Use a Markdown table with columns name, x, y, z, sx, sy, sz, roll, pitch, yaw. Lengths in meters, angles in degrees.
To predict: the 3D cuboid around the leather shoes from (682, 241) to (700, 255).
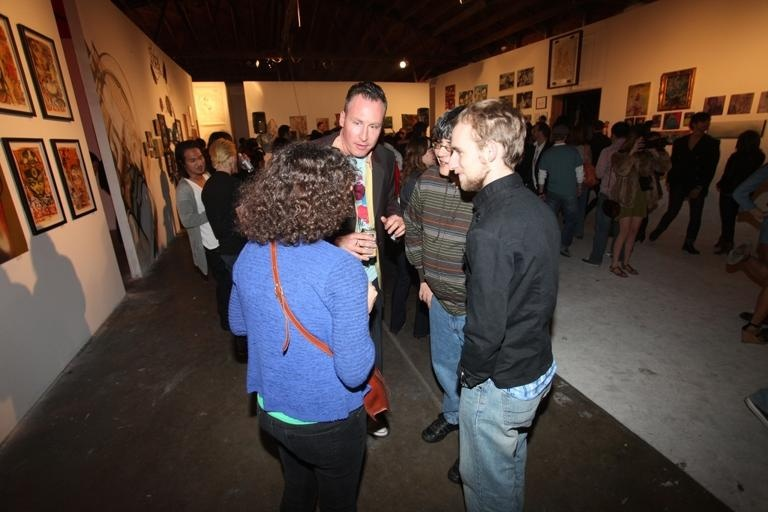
| name | x | y | z | sx | sy | sz | roll | pitch | yaw |
| --- | --- | --- | --- | --- | --- | --- | --- | --- | --- |
| leather shoes | 5.026 | -0.135 | 7.864 | 0.125 | 0.218 | 0.304 | -6 | 19 | -13 |

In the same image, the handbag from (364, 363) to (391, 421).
| name | x | y | z | sx | sy | sz | roll | pitch | yaw |
| --- | --- | --- | --- | --- | --- | --- | --- | --- | --- |
| handbag | -0.049 | 1.129 | 3.777 | 0.174 | 0.473 | 0.238 | 8 | 21 | 17 |

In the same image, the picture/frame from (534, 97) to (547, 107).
| name | x | y | z | sx | sy | sz | roll | pitch | yaw |
| --- | --- | --- | --- | --- | --- | --- | --- | --- | --- |
| picture/frame | 3.757 | -3.708 | 11.577 | 0.023 | 0.268 | 0.315 | 3 | 2 | -17 |

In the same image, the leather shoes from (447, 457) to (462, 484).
| name | x | y | z | sx | sy | sz | roll | pitch | yaw |
| --- | --- | --- | --- | --- | --- | --- | --- | --- | --- |
| leather shoes | 0.650 | 2.012 | 4.529 | 0.126 | 0.128 | 0.296 | 6 | -6 | 16 |

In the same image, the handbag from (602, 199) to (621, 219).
| name | x | y | z | sx | sy | sz | roll | pitch | yaw |
| --- | --- | --- | --- | --- | --- | --- | --- | --- | --- |
| handbag | 3.240 | -0.682 | 6.899 | 0.241 | 0.098 | 0.228 | 12 | 15 | -34 |
